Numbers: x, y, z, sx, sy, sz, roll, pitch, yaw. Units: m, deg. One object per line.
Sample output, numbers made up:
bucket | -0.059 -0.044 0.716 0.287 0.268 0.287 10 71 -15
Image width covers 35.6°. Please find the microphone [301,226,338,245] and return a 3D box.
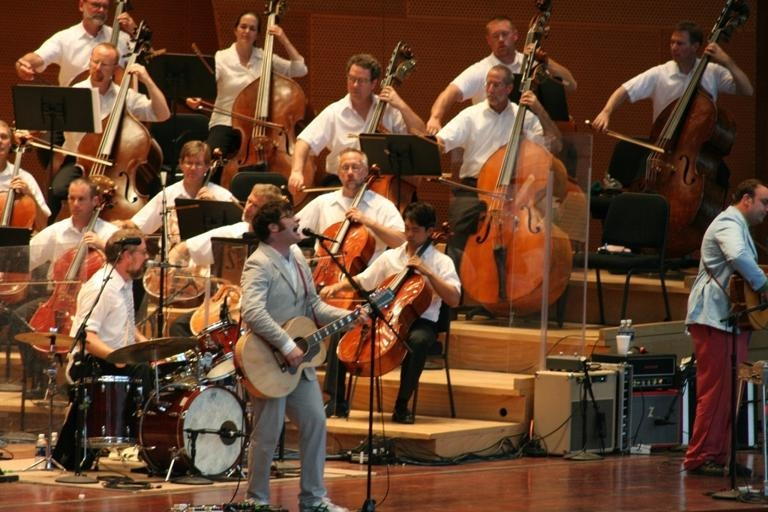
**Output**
microphone | -0.515 -0.185 9.863 0.359 0.079 0.077 19 -35 4

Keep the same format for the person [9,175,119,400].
person | -2.803 0.234 10.563 0.922 1.763 0.604 4 -13 -9

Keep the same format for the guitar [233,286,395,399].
guitar | -0.287 0.751 8.580 0.779 1.318 0.825 -3 27 4

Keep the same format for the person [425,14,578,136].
person | 1.063 -1.765 11.915 1.392 1.269 0.837 0 13 -1

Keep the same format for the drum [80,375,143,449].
drum | -2.081 1.190 9.255 0.430 0.550 0.182 -1 9 -16

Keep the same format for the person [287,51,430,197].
person | -0.262 -1.316 11.469 1.238 1.446 0.883 6 14 8

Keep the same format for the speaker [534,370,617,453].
speaker | 1.612 1.352 10.387 0.958 0.900 0.623 5 -5 -37

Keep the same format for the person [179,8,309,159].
person | -1.462 -1.794 12.523 1.205 1.538 0.553 6 -5 -18

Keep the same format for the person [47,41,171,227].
person | -2.669 -1.285 11.706 0.940 1.881 0.785 7 15 20

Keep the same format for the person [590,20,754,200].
person | 2.779 -1.424 12.037 0.658 1.757 1.477 18 18 -38

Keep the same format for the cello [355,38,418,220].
cello | 0.088 -1.296 11.179 0.630 1.484 0.313 12 -2 26

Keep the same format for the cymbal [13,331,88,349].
cymbal | -2.581 0.654 9.369 0.330 0.081 0.316 1 -12 8
